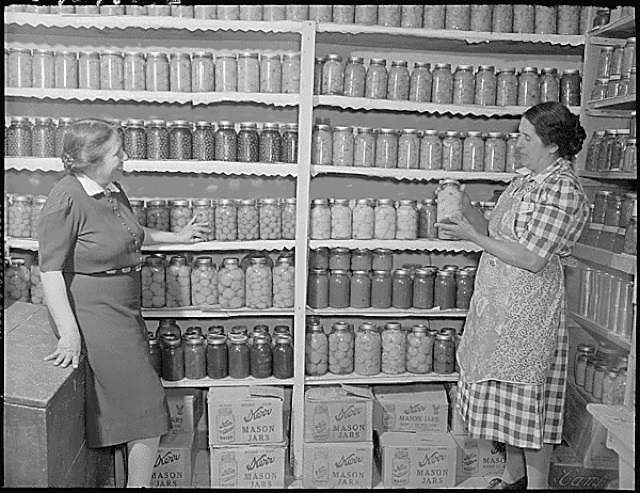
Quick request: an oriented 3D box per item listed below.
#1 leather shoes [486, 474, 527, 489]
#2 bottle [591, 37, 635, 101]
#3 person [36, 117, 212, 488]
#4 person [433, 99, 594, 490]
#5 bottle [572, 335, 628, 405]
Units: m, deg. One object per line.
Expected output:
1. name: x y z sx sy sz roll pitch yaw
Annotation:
1. leather shoes: 0.906 1.142 3.800 0.201 0.074 0.074 1 -7 6
2. bottle: 1.467 -0.876 3.800 0.120 0.300 0.346 -1 3 -14
3. person: -0.920 0.245 3.332 0.533 1.591 0.308 -2 3 -28
4. person: 0.909 0.274 3.626 0.646 1.858 0.392 0 3 19
5. bottle: 1.428 0.643 3.947 0.183 0.114 0.305 1 5 1
